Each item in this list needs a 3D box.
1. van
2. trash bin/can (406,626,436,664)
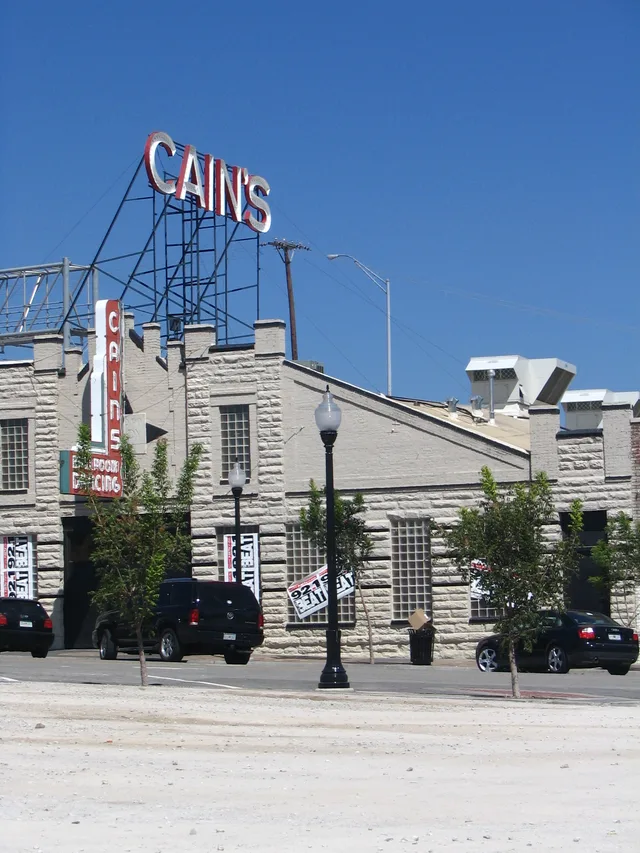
[{"bbox_3d":[-2.409,3.268,38.449,1.350,1.306,2.770,6,-4,-38],"label":"van"},{"bbox_3d":[1.840,3.886,40.391,0.485,0.723,0.516,1,-7,-3],"label":"trash bin/can"}]
